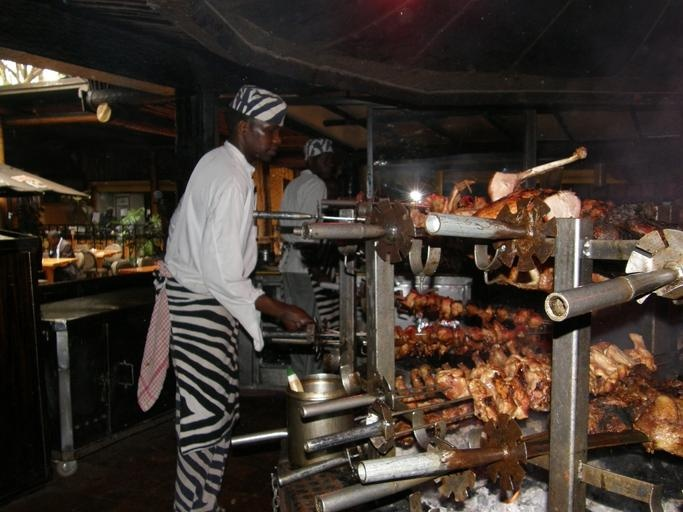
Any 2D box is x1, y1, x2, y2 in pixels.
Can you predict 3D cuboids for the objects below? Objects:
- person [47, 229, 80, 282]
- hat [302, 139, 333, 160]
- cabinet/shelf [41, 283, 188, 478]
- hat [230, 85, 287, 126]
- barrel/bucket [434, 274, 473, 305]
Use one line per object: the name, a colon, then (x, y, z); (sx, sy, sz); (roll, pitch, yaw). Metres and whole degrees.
person: (-3.969, 0.144, 8.672); (0.402, 0.974, 0.484); (2, 4, 0)
hat: (-0.229, -1.067, 6.110); (0.247, 0.199, 0.183); (-25, 13, 3)
cabinet/shelf: (-2.172, 1.069, 5.574); (0.866, 1.171, 1.622); (-1, 0, 22)
hat: (-0.559, -0.998, 4.126); (0.418, 0.220, 0.398); (12, 4, 39)
barrel/bucket: (0.877, 0.250, 4.832); (0.232, 0.149, 0.239); (2, 0, 0)
